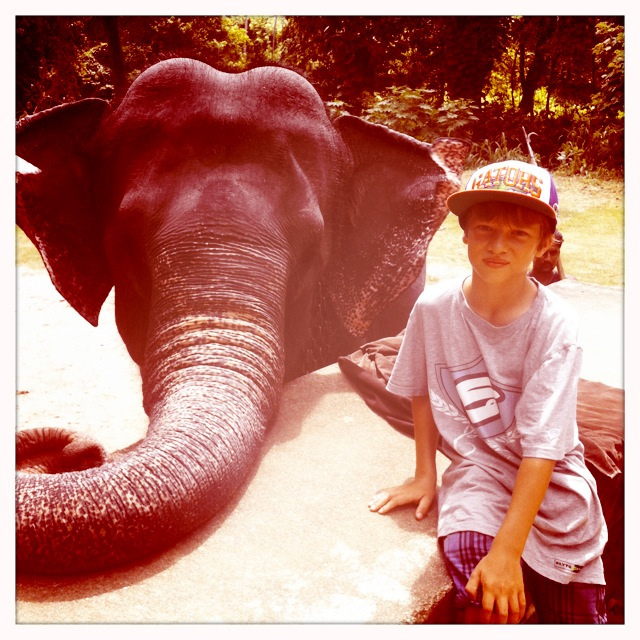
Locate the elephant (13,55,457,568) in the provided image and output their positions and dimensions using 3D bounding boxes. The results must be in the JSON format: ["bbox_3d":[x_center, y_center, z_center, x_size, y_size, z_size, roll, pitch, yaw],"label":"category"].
[{"bbox_3d":[-0.310,-0.154,1.971,1.061,1.067,1.762,2,0,2],"label":"elephant"}]
